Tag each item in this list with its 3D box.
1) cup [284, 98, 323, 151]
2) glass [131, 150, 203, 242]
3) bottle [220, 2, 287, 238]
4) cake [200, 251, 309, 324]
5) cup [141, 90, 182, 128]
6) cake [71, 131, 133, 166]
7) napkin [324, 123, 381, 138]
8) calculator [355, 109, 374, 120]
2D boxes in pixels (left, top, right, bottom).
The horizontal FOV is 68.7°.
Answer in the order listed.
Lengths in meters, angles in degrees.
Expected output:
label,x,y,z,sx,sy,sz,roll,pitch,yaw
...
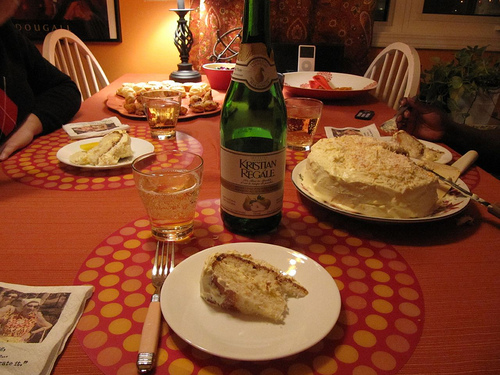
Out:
label,x,y,z,sx,sy,sz,roll,pitch,yaw
cup,0.173,-0.214,1.310,0.161,0.187,0.178,0,29,1
glass,-0.179,-0.002,0.800,0.132,0.209,0.122,-7,19,-22
bottle,0.011,-0.147,0.806,0.168,0.460,0.329,4,34,4
cake,0.003,0.165,0.613,0.133,0.037,0.109,15,19,11
cup,-0.320,-0.268,1.324,0.148,0.143,0.165,-1,8,-11
cake,-0.425,-0.131,1.056,0.108,0.043,0.113,13,35,21
napkin,0.374,-0.205,1.340,0.128,0.019,0.093,0,29,5
calculator,0.480,-0.311,1.539,0.066,0.015,0.129,16,37,20
